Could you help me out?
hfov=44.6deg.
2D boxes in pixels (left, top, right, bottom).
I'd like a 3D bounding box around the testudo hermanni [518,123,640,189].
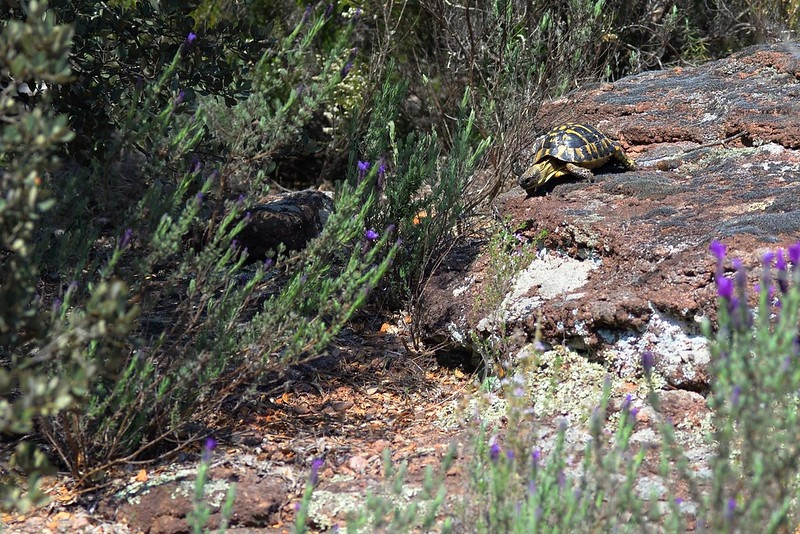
[{"bbox_3d":[1.381,-0.868,7.945,0.771,0.346,0.547,-22,3,-15],"label":"testudo hermanni"}]
